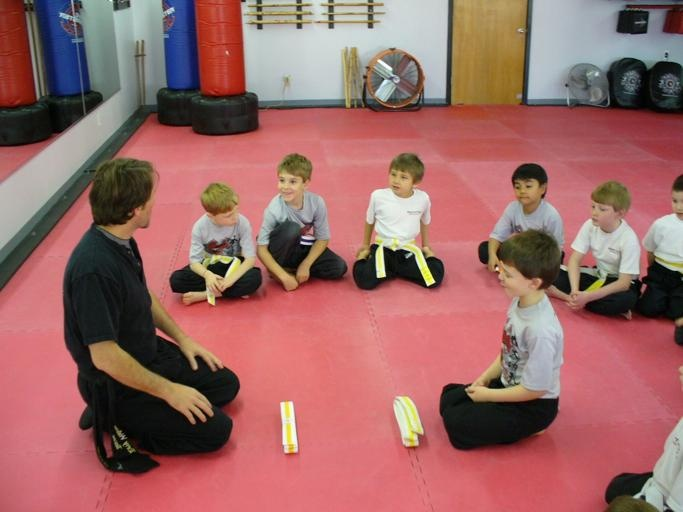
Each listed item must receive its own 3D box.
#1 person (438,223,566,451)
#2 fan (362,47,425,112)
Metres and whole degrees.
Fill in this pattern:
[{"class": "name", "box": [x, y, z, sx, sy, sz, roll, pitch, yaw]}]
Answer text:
[{"class": "person", "box": [0.838, 0.447, 2.850, 0.623, 1.146, 0.659, -2, 27, 6]}, {"class": "fan", "box": [0.791, -2.786, 8.524, 0.868, 1.001, 0.339, -1, 17, -9]}]
